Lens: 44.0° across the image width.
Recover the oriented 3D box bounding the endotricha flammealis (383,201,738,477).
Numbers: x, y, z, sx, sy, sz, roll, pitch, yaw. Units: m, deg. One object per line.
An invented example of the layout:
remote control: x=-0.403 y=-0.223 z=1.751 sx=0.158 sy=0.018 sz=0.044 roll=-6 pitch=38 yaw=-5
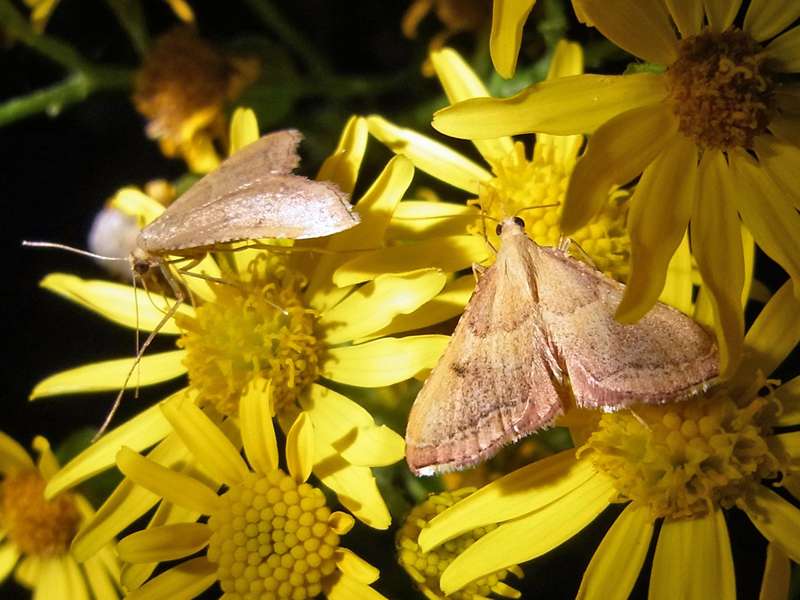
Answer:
endotricha flammealis: x=0.212 y=0.055 z=1.699 sx=0.589 sy=0.419 sz=0.141 roll=-19 pitch=-17 yaw=-21
